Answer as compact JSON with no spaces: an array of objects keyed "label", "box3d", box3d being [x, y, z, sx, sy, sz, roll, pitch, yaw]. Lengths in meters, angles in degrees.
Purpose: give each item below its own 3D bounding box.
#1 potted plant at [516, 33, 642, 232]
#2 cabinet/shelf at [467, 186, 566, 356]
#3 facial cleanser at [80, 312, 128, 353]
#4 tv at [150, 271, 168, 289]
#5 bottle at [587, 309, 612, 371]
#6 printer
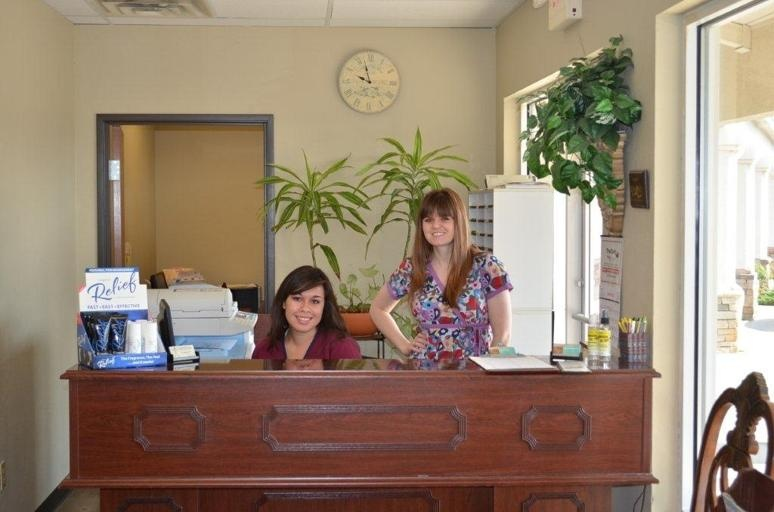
[{"label":"potted plant","box3d":[1.162,-0.726,3.974,0.666,1.201,0.453,0,4,12]},{"label":"cabinet/shelf","box3d":[1.030,0.028,4.986,0.409,1.694,0.473,0,-1,-7]},{"label":"facial cleanser","box3d":[-1.301,0.378,3.142,0.094,0.190,0.189,-11,-11,21]},{"label":"tv","box3d":[-2.710,0.295,7.944,0.059,0.155,0.179,-16,0,4]},{"label":"bottle","box3d":[1.054,0.405,3.308,0.116,0.241,0.337,0,4,18]},{"label":"printer","box3d":[-0.985,0.331,3.714,0.454,0.270,0.444,0,1,-4]}]
